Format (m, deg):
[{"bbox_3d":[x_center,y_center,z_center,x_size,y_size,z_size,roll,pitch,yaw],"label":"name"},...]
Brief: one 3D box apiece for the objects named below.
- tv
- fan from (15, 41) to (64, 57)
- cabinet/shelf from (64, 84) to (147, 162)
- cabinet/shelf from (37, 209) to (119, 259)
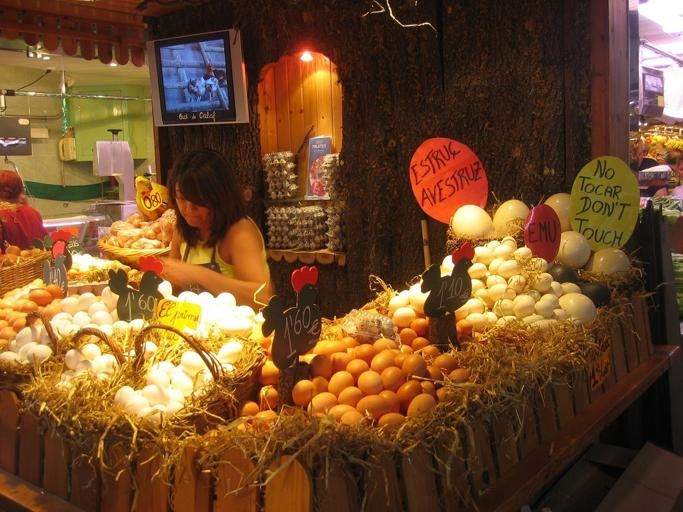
[{"bbox_3d":[-1.042,-1.328,4.031,0.714,0.596,0.077,0,14,23],"label":"tv"},{"bbox_3d":[-3.452,-2.377,6.247,0.415,0.165,0.904,-5,19,-29],"label":"fan"},{"bbox_3d":[-3.687,-1.942,8.544,1.093,1.236,0.756,-5,-4,-19],"label":"cabinet/shelf"},{"bbox_3d":[-2.070,-0.178,4.286,0.510,0.412,0.869,-3,3,-38],"label":"cabinet/shelf"}]
